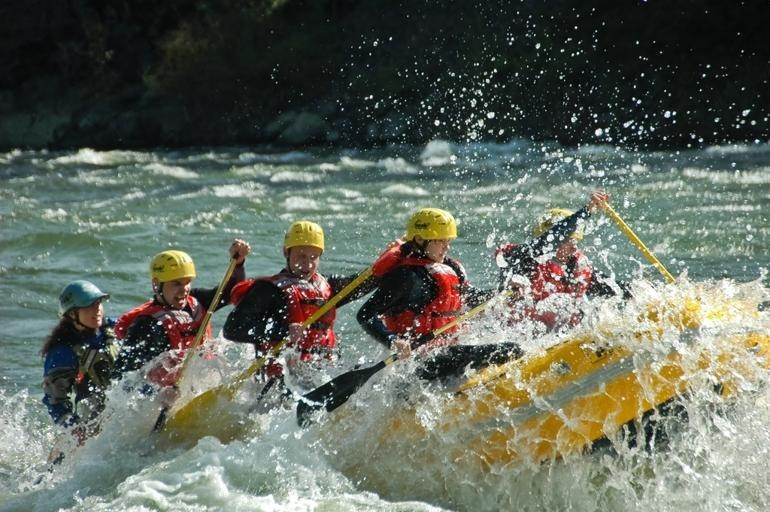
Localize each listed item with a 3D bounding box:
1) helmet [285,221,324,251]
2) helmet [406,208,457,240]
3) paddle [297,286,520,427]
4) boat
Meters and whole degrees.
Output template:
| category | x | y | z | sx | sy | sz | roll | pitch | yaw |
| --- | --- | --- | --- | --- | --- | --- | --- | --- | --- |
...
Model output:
| category | x | y | z | sx | sy | sz | roll | pitch | yaw |
| --- | --- | --- | --- | --- | --- | --- | --- | --- | --- |
| helmet | -1.189 | -0.248 | 16.599 | 0.376 | 0.524 | 0.382 | 6 | 57 | -7 |
| helmet | 0.672 | -0.428 | 16.385 | 0.591 | 0.435 | 0.368 | 15 | 95 | 17 |
| paddle | 0.300 | 1.460 | 16.120 | 3.114 | 0.149 | 0.458 | -28 | 36 | 1 |
| boat | 1.711 | 2.169 | 15.858 | 4.893 | 2.850 | 1.008 | -23 | 87 | 21 |
